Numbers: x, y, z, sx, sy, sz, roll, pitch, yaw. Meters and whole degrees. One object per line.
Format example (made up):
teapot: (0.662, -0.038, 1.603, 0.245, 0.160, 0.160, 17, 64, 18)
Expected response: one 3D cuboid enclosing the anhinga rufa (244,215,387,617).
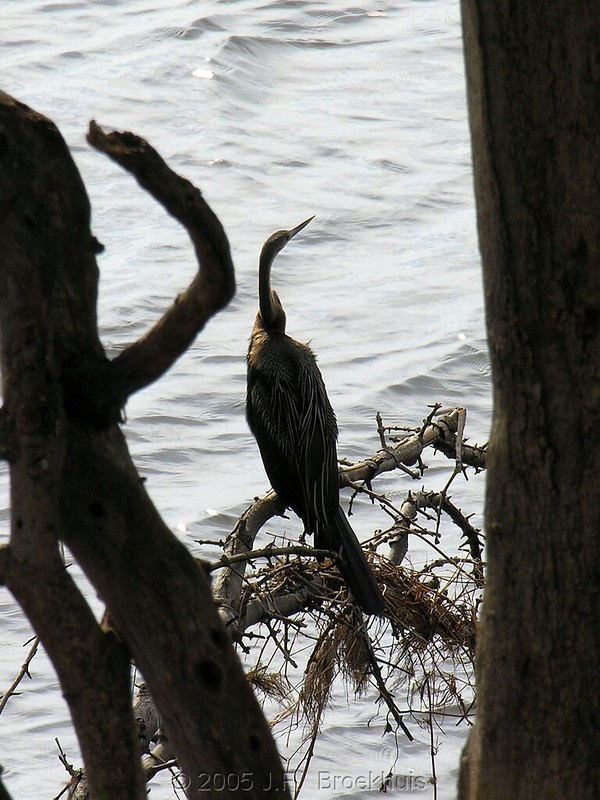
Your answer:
anhinga rufa: (0.041, 0.230, 6.215, 0.392, 1.395, 0.562, -13, -33, -2)
